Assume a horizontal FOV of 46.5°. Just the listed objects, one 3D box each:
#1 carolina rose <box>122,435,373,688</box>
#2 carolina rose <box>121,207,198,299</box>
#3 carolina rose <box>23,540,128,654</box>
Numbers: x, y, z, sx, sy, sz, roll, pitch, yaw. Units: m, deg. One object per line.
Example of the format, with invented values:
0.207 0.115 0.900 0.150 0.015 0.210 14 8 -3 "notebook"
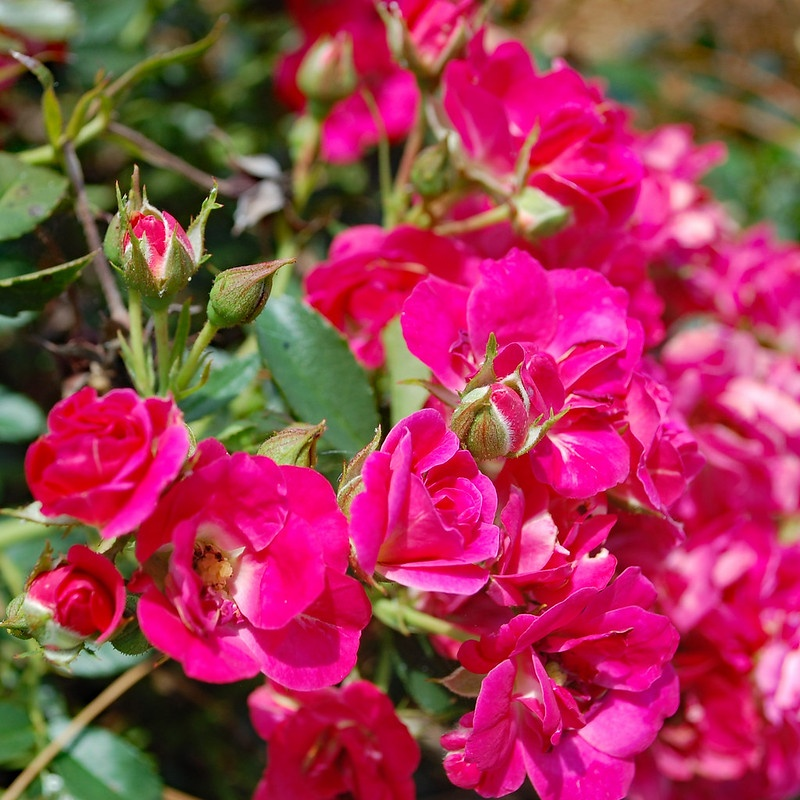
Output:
-0.125 0.105 0.613 0.186 0.206 0.093 20 54 -12 "carolina rose"
-0.162 -0.095 0.610 0.042 0.050 0.040 33 61 11 "carolina rose"
-0.198 0.122 0.571 0.063 0.047 0.056 6 60 -4 "carolina rose"
